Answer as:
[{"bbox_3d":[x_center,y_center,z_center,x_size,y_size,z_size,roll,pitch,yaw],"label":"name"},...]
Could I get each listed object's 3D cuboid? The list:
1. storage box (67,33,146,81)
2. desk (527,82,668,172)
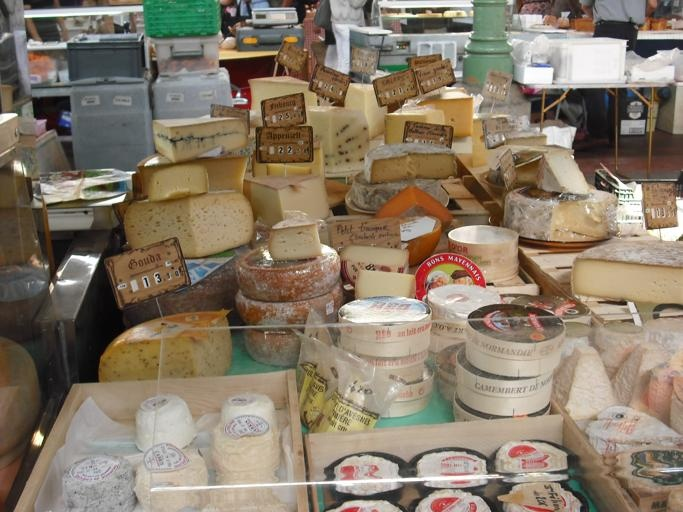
[{"bbox_3d":[-1.913,-1.621,4.560,0.602,0.266,0.466,-9,26,-19],"label":"storage box"},{"bbox_3d":[3.137,-1.639,6.773,1.359,0.933,1.079,3,20,23],"label":"desk"}]
